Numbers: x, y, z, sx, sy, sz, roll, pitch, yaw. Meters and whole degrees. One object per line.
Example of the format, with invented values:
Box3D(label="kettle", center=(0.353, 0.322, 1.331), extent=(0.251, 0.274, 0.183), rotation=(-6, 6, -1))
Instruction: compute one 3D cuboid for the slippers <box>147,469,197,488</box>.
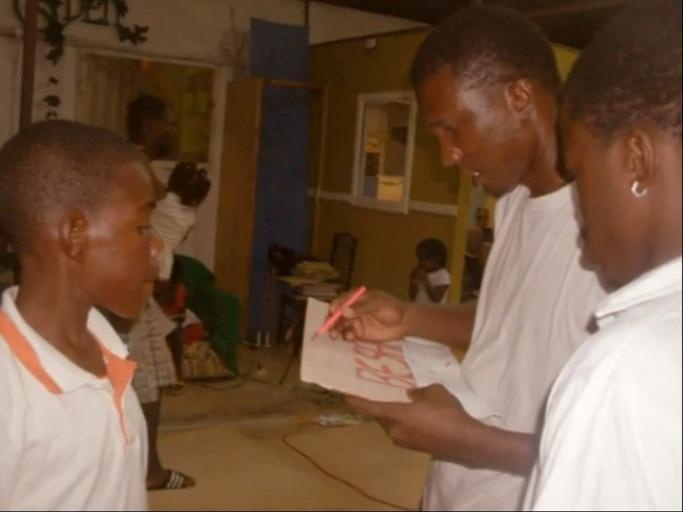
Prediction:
Box3D(label="slippers", center=(-1.062, 1.357, 4.162), extent=(0.241, 0.071, 0.109), rotation=(-2, 15, -26))

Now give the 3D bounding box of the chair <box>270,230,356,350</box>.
Box3D(label="chair", center=(-0.332, 0.384, 7.242), extent=(0.874, 1.277, 0.732), rotation=(4, 8, -7))
